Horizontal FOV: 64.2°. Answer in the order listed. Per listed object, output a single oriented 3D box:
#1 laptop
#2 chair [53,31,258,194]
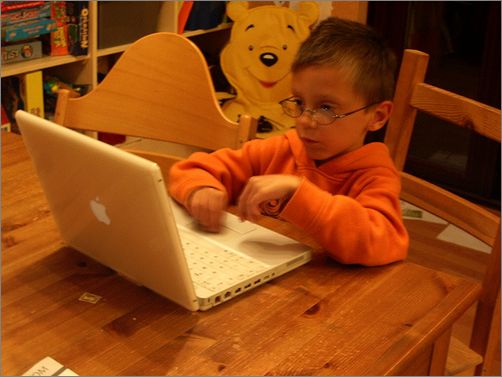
[{"bbox_3d":[-0.116,0.037,0.745,0.444,0.307,0.397,25,32,33],"label":"laptop"},{"bbox_3d":[-0.211,-0.277,1.342,0.508,0.651,0.470,11,38,3],"label":"chair"}]
